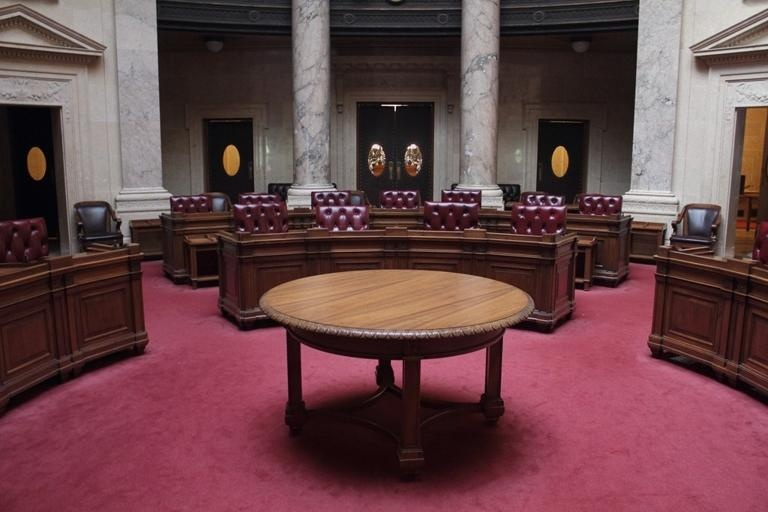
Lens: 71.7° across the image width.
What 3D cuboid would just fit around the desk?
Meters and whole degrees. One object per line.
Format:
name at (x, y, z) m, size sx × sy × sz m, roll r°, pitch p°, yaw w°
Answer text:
desk at (0.256, 0.552, 4.101) m, size 1.561 × 0.892 × 1.621 m, roll 12°, pitch 22°, yaw 35°
